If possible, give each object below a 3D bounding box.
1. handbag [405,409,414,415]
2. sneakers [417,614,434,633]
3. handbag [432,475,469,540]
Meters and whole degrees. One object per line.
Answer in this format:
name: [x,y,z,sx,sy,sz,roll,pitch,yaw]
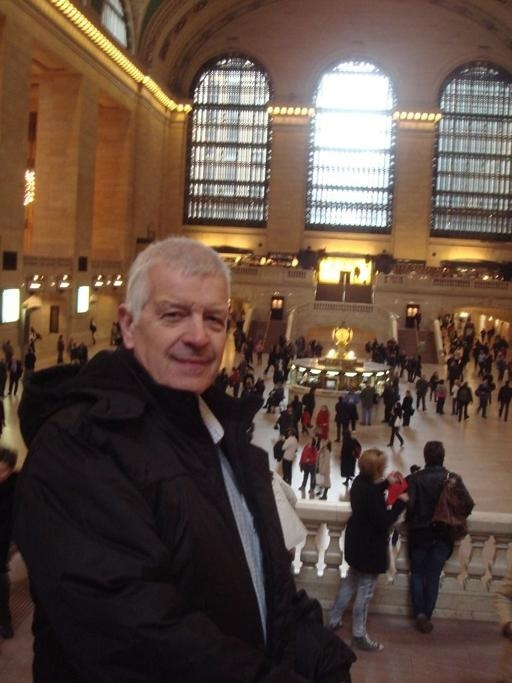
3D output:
handbag: [4.626,2.143,15.355,0.269,0.227,0.159,-2,-7,8]
sneakers: [1.094,1.833,3.306,0.052,0.137,0.054,-5,3,24]
handbag: [1.413,1.180,3.658,0.215,0.336,0.278,4,2,33]
